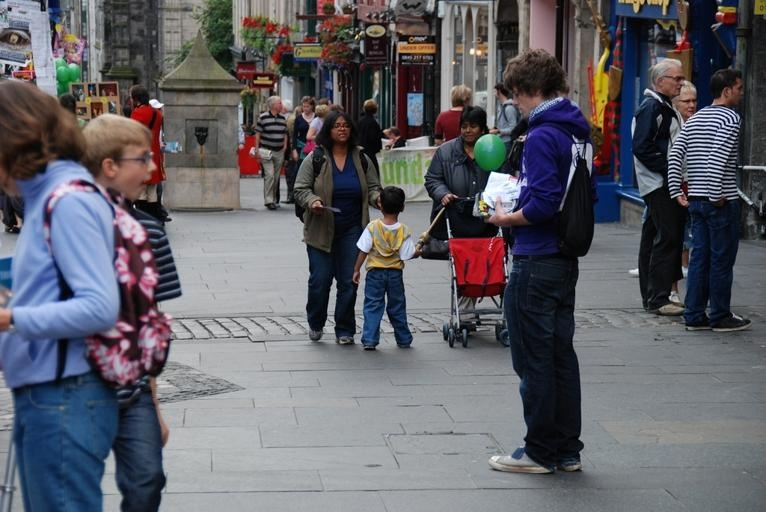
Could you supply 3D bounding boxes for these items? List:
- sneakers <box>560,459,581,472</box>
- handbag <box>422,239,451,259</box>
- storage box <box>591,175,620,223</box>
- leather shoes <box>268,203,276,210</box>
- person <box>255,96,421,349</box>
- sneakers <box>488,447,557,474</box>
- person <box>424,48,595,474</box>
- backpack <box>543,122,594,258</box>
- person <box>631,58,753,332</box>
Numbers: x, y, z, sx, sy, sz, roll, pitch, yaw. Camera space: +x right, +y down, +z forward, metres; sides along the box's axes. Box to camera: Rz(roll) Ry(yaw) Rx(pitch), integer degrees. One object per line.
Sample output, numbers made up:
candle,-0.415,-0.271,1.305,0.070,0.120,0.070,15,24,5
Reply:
sneakers,1.225,1.348,7.718,0.067,0.056,0.134,-3,8,-24
handbag,0.479,-0.058,11.024,0.208,0.075,0.203,2,-26,-4
storage box,3.535,-0.841,18.720,0.365,0.582,0.357,0,10,7
leather shoes,-2.037,-0.913,21.973,0.101,0.065,0.126,2,-16,-5
person,-0.394,-0.261,10.792,0.789,2.076,0.572,-2,10,-8
sneakers,0.920,1.306,7.766,0.462,0.191,0.154,6,-7,9
person,1.026,0.027,7.737,0.684,2.682,0.544,-2,10,-4
backpack,1.273,-0.364,7.664,0.185,0.792,0.390,7,12,39
person,3.042,-0.519,11.062,0.772,2.365,0.563,2,10,13
